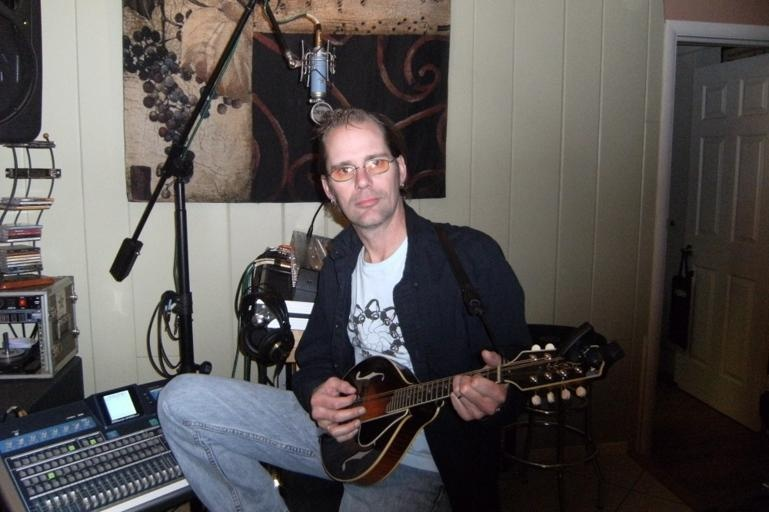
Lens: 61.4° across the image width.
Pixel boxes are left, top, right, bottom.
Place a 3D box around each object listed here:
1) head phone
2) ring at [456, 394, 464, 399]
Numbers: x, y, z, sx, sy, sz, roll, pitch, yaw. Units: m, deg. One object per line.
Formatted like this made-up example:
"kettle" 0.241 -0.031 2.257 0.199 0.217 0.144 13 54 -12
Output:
"head phone" -0.656 0.370 3.487 0.188 0.415 0.366 -13 12 -42
"ring" 0.316 0.597 2.741 0.021 0.024 0.006 4 13 32
